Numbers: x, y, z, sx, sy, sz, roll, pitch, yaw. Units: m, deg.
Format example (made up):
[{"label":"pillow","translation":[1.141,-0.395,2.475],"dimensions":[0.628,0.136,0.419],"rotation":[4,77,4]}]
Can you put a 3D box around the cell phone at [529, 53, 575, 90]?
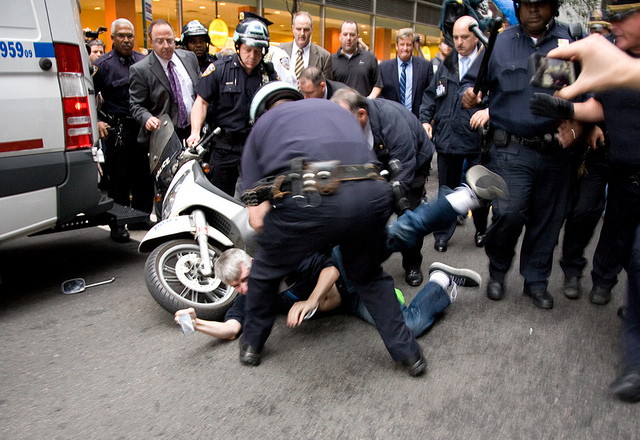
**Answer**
[{"label":"cell phone","translation":[1.298,-0.829,2.429],"dimensions":[0.245,0.180,0.180],"rotation":[9,24,22]}]

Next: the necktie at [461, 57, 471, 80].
[{"label":"necktie","translation":[1.632,-1.727,4.836],"dimensions":[0.099,0.156,0.193],"rotation":[4,22,10]}]

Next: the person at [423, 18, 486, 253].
[{"label":"person","translation":[1.575,-0.974,4.934],"dimensions":[0.848,2.479,0.781],"rotation":[3,12,13]}]

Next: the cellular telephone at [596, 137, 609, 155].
[{"label":"cellular telephone","translation":[2.106,-0.552,3.241],"dimensions":[0.041,0.115,0.084],"rotation":[-34,19,5]}]

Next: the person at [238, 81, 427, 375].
[{"label":"person","translation":[0.041,0.155,2.629],"dimensions":[1.159,1.663,0.440],"rotation":[6,22,14]}]

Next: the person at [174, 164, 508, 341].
[{"label":"person","translation":[0.247,0.228,2.994],"dimensions":[1.900,1.138,0.805],"rotation":[-6,-1,37]}]

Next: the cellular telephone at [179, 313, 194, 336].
[{"label":"cellular telephone","translation":[-0.843,0.644,2.731],"dimensions":[0.079,0.124,0.061],"rotation":[-7,23,-17]}]

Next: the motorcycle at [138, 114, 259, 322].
[{"label":"motorcycle","translation":[-1.007,-0.004,3.407],"dimensions":[0.822,1.454,1.275],"rotation":[-10,24,-23]}]
